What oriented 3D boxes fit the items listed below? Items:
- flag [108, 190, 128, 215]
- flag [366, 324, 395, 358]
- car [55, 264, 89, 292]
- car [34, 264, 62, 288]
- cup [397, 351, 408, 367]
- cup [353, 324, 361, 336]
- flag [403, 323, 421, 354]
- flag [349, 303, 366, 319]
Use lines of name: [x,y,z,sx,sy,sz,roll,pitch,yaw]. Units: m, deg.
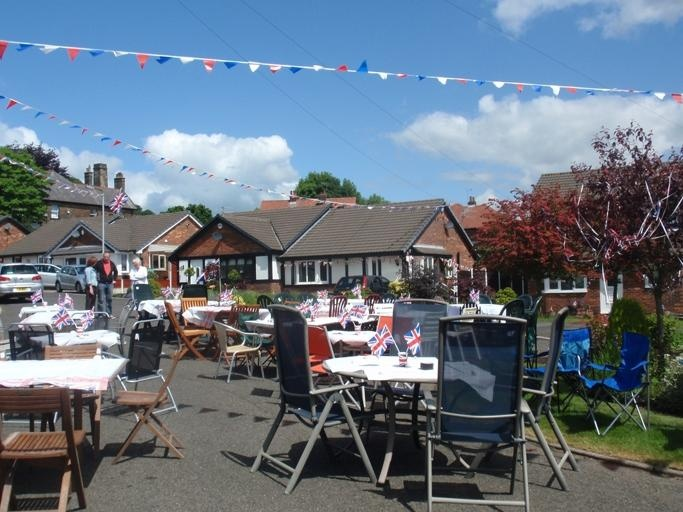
flag: [-9.505,-2.358,28.880,0.473,0.973,1.760,1,-3,-18]
flag: [0.471,1.031,8.143,0.537,0.303,0.026,-45,-1,-39]
car: [-12.051,1.013,30.749,1.998,1.050,1.245,-3,-3,40]
car: [-13.751,0.955,31.944,1.614,0.894,0.988,-1,0,6]
cup: [0.624,1.127,7.291,0.113,0.187,0.123,0,-3,0]
cup: [0.229,1.091,10.048,0.101,0.153,0.104,1,-6,0]
flag: [0.822,0.983,7.947,0.031,0.301,0.315,1,-3,38]
flag: [0.235,0.841,10.254,0.192,0.069,0.206,7,10,26]
